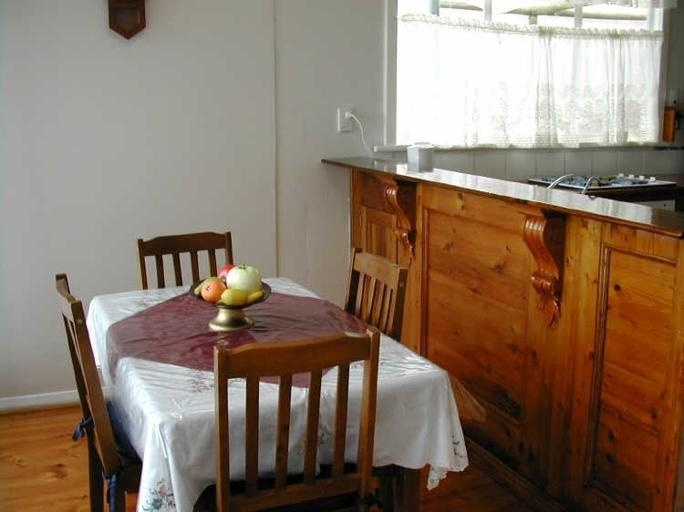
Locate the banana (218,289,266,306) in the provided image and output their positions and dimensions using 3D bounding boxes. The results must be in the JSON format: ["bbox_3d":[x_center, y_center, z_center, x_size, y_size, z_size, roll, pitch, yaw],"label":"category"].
[{"bbox_3d":[-0.348,0.142,1.890,0.137,0.061,0.062,0,1,-14],"label":"banana"}]

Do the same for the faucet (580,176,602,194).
[{"bbox_3d":[1.448,-0.417,3.250,0.098,0.076,0.622,1,12,25],"label":"faucet"}]

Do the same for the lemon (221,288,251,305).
[{"bbox_3d":[-0.365,0.134,1.884,0.082,0.049,0.046,-2,4,-26],"label":"lemon"}]

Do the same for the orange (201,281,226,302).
[{"bbox_3d":[-0.441,0.116,1.922,0.069,0.066,0.070,-9,31,2],"label":"orange"}]

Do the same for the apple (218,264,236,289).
[{"bbox_3d":[-0.420,0.075,2.030,0.058,0.079,0.062,-4,-16,9],"label":"apple"}]
